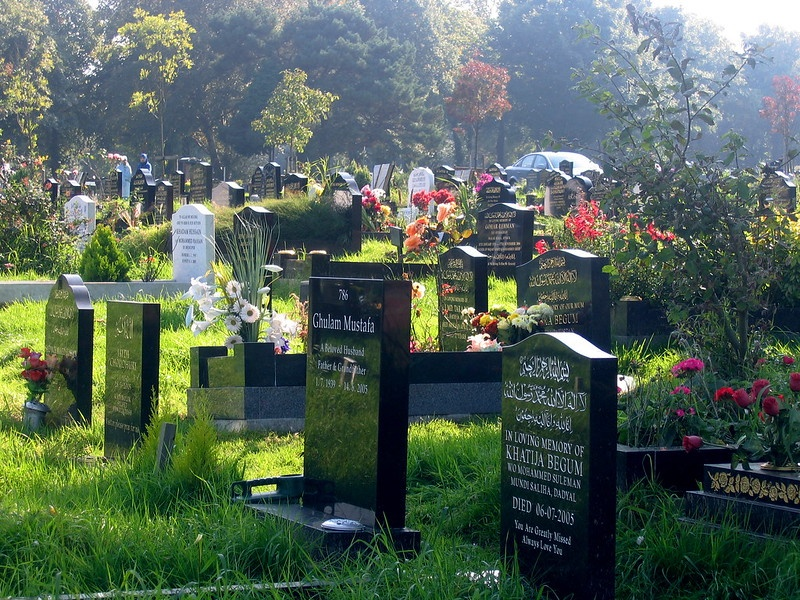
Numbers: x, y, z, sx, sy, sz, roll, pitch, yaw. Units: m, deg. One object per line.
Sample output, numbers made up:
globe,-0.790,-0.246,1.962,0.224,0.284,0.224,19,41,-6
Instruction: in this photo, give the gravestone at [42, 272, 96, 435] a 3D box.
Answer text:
gravestone,-3.089,0.463,8.058,0.768,1.146,0.255,2,1,42

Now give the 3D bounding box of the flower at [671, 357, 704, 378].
flower,1.845,0.440,5.627,0.139,0.092,0.150,-6,7,32

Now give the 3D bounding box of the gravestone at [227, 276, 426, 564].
gravestone,-0.353,0.668,5.353,1.057,1.551,0.647,2,0,14

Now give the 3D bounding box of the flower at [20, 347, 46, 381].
flower,-3.337,0.603,8.069,0.251,0.305,0.259,-7,10,-41

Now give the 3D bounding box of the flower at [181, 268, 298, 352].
flower,-1.488,0.126,8.295,0.840,0.894,0.895,10,-1,38

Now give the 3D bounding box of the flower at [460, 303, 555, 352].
flower,0.978,0.170,7.935,0.503,0.366,0.498,7,-23,-40
